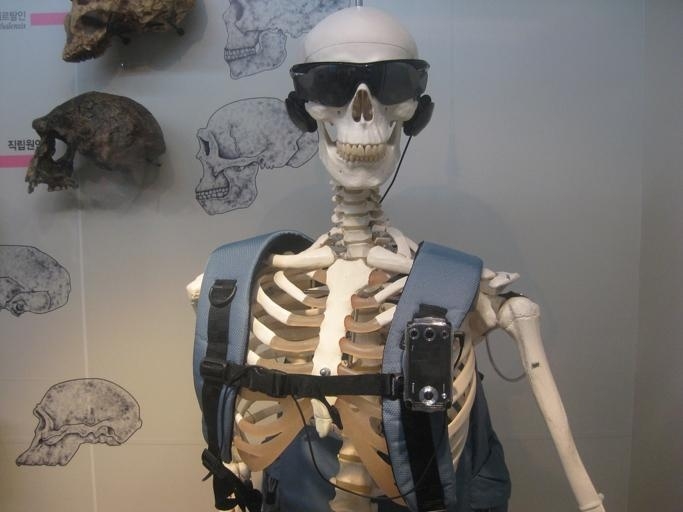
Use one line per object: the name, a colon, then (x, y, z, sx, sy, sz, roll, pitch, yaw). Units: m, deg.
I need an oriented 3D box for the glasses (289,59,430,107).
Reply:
glasses: (0.056, -0.569, 3.329, 0.446, 0.166, 0.098, 2, 23, -2)

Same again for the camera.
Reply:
camera: (0.287, 0.398, 3.237, 0.159, 0.194, 0.336, 2, 54, 2)
